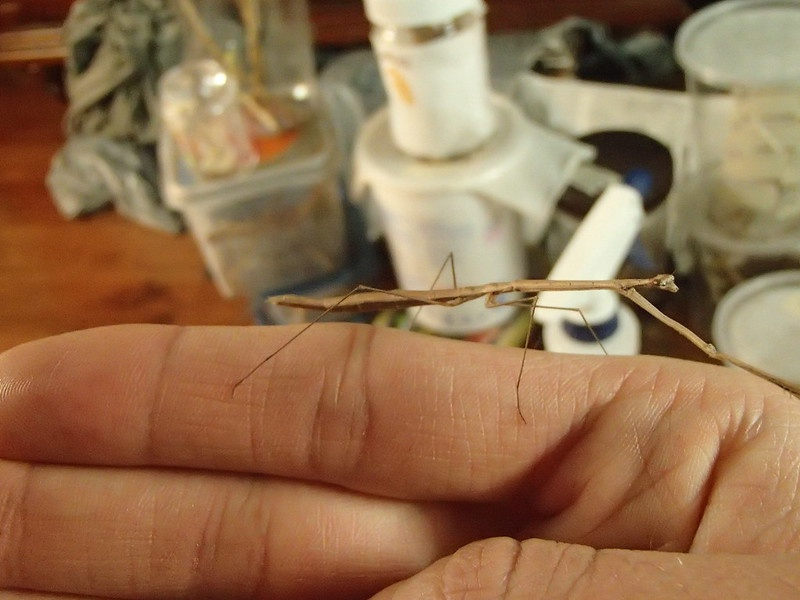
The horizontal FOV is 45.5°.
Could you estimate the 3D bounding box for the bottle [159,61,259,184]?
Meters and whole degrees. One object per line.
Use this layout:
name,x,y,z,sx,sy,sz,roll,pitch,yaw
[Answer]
bottle,-0.292,-0.260,1.438,0.050,0.196,0.168,-16,66,52
